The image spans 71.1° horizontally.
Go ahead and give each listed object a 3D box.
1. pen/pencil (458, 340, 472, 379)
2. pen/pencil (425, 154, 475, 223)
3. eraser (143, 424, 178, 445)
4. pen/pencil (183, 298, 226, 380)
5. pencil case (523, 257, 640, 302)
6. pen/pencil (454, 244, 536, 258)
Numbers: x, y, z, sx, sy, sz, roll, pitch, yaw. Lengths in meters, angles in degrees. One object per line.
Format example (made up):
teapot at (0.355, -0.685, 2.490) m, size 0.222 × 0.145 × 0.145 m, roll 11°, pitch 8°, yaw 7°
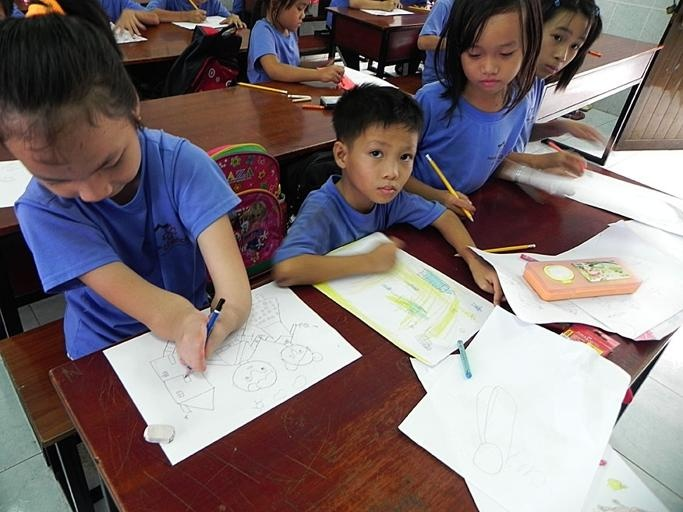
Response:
pen/pencil at (0.248, 0.217, 0.978) m, size 0.015 × 0.014 × 0.066 m, roll 8°, pitch 39°, yaw -12°
pen/pencil at (0.340, -0.214, 1.510) m, size 0.021 × 0.028 × 0.284 m, roll -26°, pitch 84°, yaw -53°
eraser at (-0.311, 0.304, 0.809) m, size 0.042 × 0.011 × 0.030 m, roll 10°, pitch 39°, yaw 1°
pen/pencil at (-0.254, 0.129, 0.979) m, size 0.028 × 0.027 × 0.251 m, roll 29°, pitch 58°, yaw -18°
pencil case at (0.591, 0.063, 1.196) m, size 0.228 × 0.052 × 0.116 m, roll -4°, pitch 27°, yaw -1°
pen/pencil at (0.405, -0.012, 1.277) m, size 0.193 × 0.017 × 0.016 m, roll -5°, pitch 19°, yaw -8°
